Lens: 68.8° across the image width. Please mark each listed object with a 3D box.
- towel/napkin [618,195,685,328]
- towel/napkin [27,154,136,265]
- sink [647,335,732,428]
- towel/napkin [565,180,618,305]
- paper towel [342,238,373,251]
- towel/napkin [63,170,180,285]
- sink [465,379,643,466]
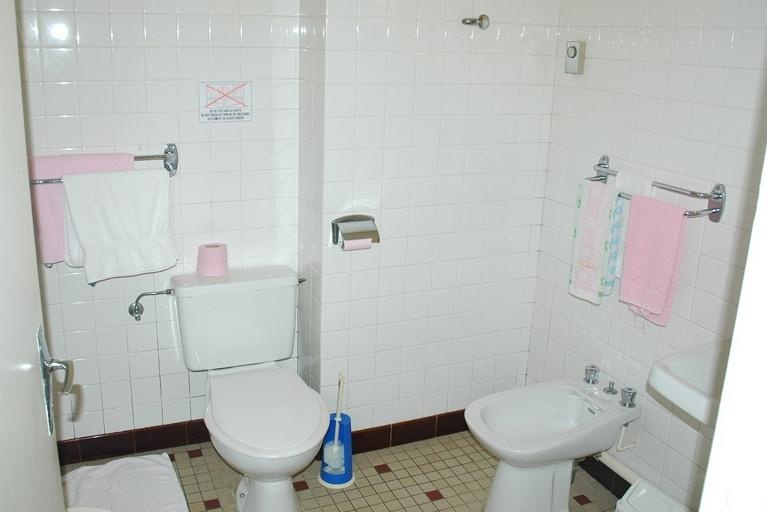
[{"bbox_3d":[1.167,0.020,2.450,0.055,0.525,0.238,-16,24,-31],"label":"towel/napkin"},{"bbox_3d":[-1.394,-0.226,2.560,0.459,0.481,0.127,-6,8,-31],"label":"towel/napkin"},{"bbox_3d":[1.192,0.487,2.209,0.234,0.296,0.460,11,25,31],"label":"sink"},{"bbox_3d":[1.025,-0.078,2.725,0.070,0.550,0.218,-5,13,-32],"label":"towel/napkin"},{"bbox_3d":[-0.128,-0.057,2.754,0.145,0.063,0.033,-9,22,-17],"label":"paper towel"},{"bbox_3d":[-1.285,-0.145,2.699,0.462,0.458,0.214,-9,22,-26],"label":"towel/napkin"},{"bbox_3d":[0.771,0.790,2.672,0.659,0.206,0.410,-11,24,-22],"label":"sink"}]
